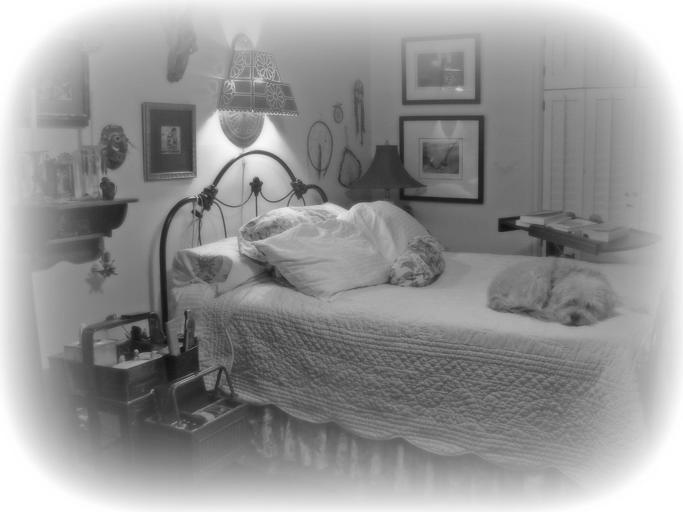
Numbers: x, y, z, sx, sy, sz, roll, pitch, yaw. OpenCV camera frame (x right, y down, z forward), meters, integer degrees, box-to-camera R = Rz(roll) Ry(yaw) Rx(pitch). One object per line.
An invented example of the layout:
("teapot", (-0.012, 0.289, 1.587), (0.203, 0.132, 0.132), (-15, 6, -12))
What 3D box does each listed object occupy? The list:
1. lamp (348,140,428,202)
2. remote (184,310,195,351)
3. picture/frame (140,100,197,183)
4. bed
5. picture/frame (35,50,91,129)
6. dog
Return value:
("lamp", (0.388, -0.685, 4.528), (0.607, 0.563, 0.593), (-15, 29, -23))
("remote", (-0.681, 0.324, 2.372), (0.050, 0.178, 0.069), (-2, 7, -16))
("picture/frame", (-0.955, -0.624, 2.894), (0.034, 0.441, 0.477), (3, 4, 28))
("bed", (0.292, 0.027, 2.639), (1.955, 0.990, 1.292), (6, 20, 23))
("picture/frame", (-1.234, -0.758, 2.487), (0.273, 0.274, 0.162), (8, 17, 29))
("dog", (0.961, 0.152, 2.447), (0.551, 0.217, 0.481), (4, 8, 29))
